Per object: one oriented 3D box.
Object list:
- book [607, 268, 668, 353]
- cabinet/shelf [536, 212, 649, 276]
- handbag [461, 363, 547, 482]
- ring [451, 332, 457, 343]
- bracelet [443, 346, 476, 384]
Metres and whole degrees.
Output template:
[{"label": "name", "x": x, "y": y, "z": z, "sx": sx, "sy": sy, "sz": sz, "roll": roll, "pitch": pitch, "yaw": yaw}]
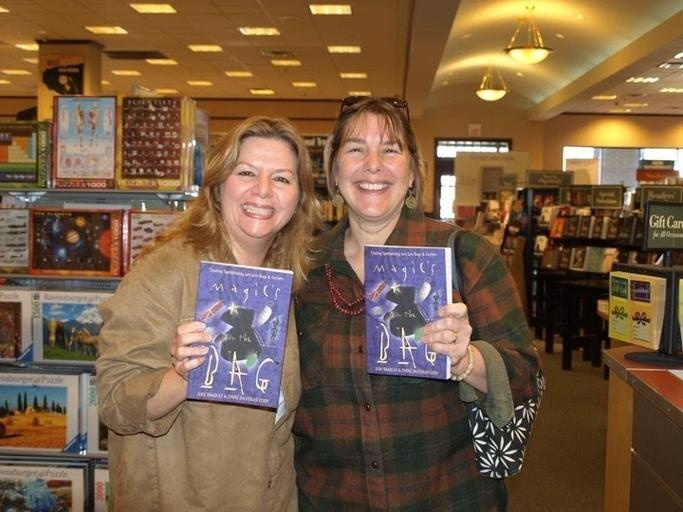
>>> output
[{"label": "book", "x": 1.589, "y": 0.276, "z": 3.045, "sx": 0.198, "sy": 0.340, "sz": 0.351, "roll": -3, "pitch": 4, "yaw": -12}, {"label": "cabinet/shelf", "x": 3.612, "y": -0.190, "z": 8.135, "sx": 0.577, "sy": 0.848, "sz": 1.741, "roll": -1, "pitch": 4, "yaw": -32}, {"label": "handbag", "x": 0.628, "y": 0.616, "z": 2.238, "sx": 0.250, "sy": 0.438, "sz": 0.172, "roll": 2, "pitch": 0, "yaw": -16}, {"label": "ring", "x": 0.400, "y": 0.295, "z": 2.065, "sx": 0.011, "sy": 0.029, "sz": 0.023, "roll": 0, "pitch": 44, "yaw": 15}, {"label": "bracelet", "x": 0.427, "y": 0.402, "z": 2.153, "sx": 0.044, "sy": 0.125, "sz": 0.094, "roll": 19, "pitch": 12, "yaw": -1}]
